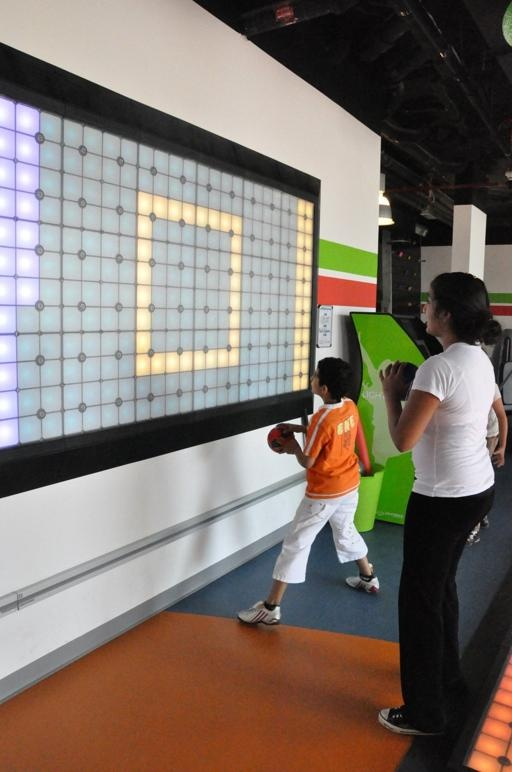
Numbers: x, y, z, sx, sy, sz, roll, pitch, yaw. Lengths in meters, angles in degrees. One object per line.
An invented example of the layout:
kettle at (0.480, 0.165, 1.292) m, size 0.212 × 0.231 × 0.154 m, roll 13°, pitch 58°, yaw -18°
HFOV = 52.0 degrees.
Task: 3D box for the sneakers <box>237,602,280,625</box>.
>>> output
sneakers at (0.024, 0.977, 2.265) m, size 0.203 × 0.107 × 0.077 m, roll 3°, pitch -15°, yaw 2°

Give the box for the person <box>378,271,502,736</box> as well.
person at (0.530, 0.361, 1.594) m, size 0.329 × 1.425 × 0.443 m, roll 4°, pitch 3°, yaw 26°

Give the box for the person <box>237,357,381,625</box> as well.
person at (0.285, 0.445, 2.359) m, size 0.300 × 1.144 × 0.711 m, roll 5°, pitch 4°, yaw 43°
